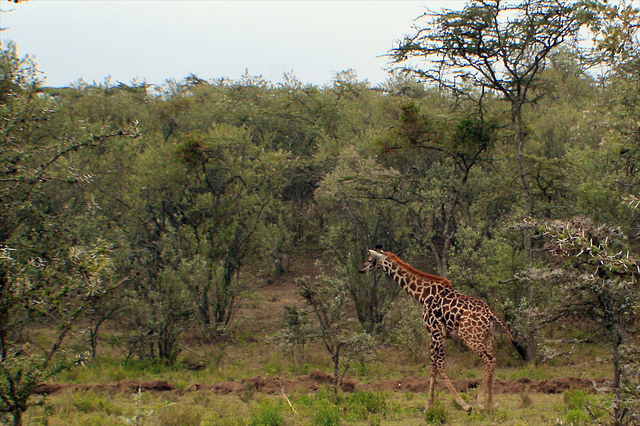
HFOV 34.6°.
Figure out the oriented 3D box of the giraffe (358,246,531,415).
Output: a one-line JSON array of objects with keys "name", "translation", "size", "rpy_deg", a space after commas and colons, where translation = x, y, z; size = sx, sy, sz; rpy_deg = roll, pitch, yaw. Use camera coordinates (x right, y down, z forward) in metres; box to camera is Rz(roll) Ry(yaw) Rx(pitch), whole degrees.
[{"name": "giraffe", "translation": [5.403, 5.458, 47.432], "size": [6.411, 8.487, 12.420], "rpy_deg": [2, -3, -32]}]
